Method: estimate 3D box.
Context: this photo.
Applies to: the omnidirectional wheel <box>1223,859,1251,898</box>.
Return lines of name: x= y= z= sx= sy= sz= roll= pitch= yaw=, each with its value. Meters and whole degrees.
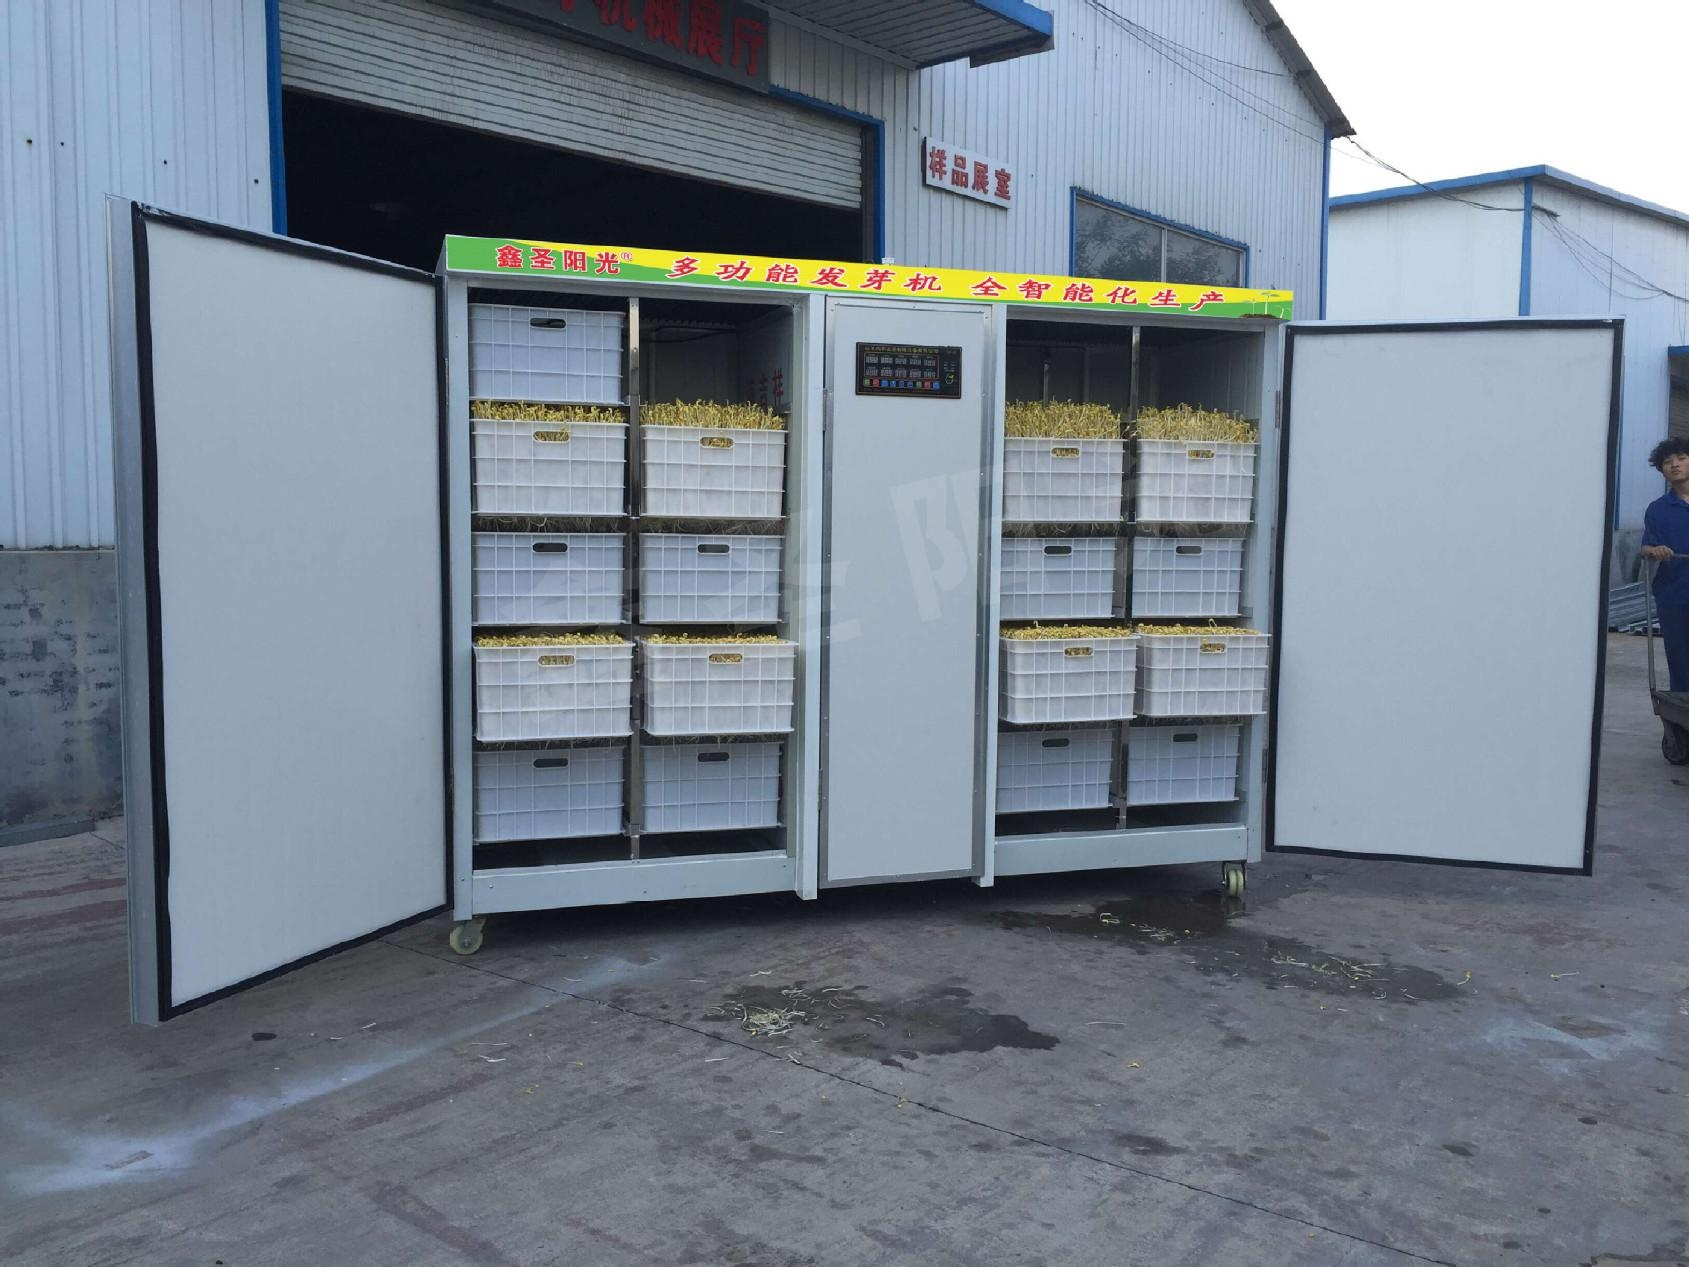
omnidirectional wheel: x=1.924 y=1.208 z=6.974 sx=0.143 sy=0.242 sz=0.168 roll=2 pitch=-1 yaw=5

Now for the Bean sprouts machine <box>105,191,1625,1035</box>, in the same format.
Bean sprouts machine: x=0.135 y=-0.229 z=6.399 sx=6.043 sy=3.151 sz=1.501 roll=-3 pitch=12 yaw=-17

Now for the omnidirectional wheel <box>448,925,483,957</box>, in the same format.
omnidirectional wheel: x=-1.666 y=1.338 z=6.180 sx=0.130 sy=0.148 sz=0.049 roll=-2 pitch=4 yaw=-16
